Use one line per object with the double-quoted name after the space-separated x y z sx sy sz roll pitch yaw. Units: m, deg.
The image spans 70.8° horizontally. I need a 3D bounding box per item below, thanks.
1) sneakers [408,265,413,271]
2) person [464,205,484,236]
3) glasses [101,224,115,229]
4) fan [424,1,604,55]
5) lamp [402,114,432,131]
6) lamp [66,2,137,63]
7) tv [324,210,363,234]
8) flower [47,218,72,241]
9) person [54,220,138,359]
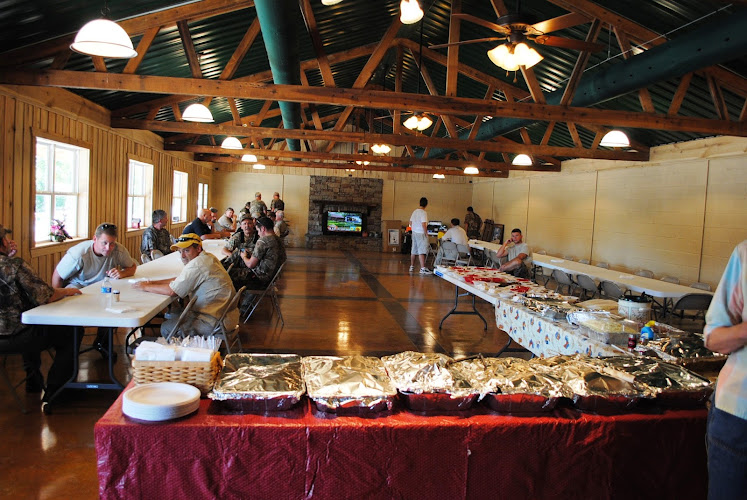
0.939 0.451 13.099 0.156 0.152 0.407 0 -1 1 "sneakers"
3.164 -0.866 16.690 0.530 1.017 1.644 4 10 11 "person"
-2.795 -0.243 5.532 0.118 0.030 0.115 -6 -7 42 "glasses"
1.572 -2.265 5.413 1.258 0.313 0.981 6 10 25 "fan"
0.728 -2.049 8.425 0.344 0.247 0.843 3 9 8 "lamp"
-2.435 -1.914 4.742 0.511 0.306 0.296 -1 11 -15 "lamp"
-1.044 -0.912 17.775 1.021 0.532 0.127 1 -8 -5 "tv"
-4.600 -0.276 7.791 0.331 0.266 0.302 -3 6 3 "flower"
-3.072 0.337 5.825 0.785 1.168 0.699 16 15 20 "person"
